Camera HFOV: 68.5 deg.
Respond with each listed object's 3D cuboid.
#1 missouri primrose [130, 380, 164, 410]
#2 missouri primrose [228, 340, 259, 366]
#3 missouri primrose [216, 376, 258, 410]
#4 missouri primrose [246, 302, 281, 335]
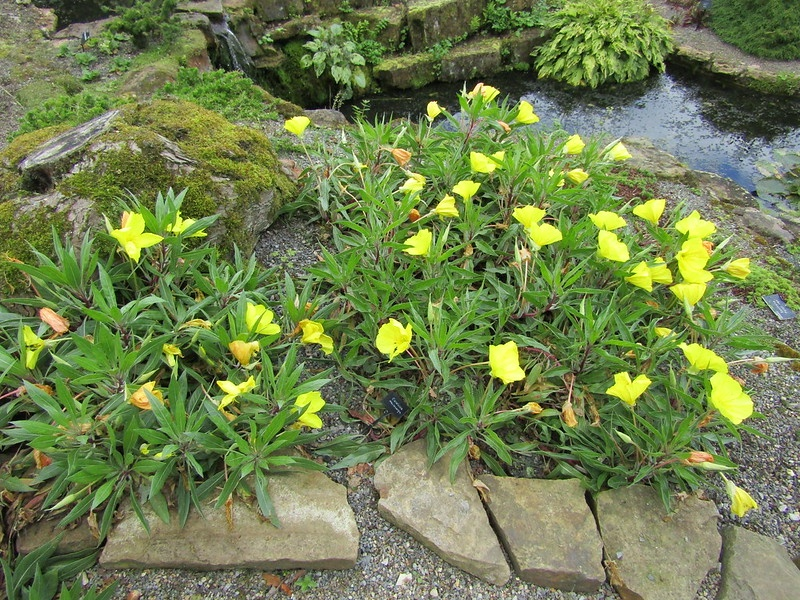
[{"bbox_3d":[-1.295,0.468,2.974,0.138,0.150,0.071,-44,64,-8],"label":"missouri primrose"},{"bbox_3d":[-0.819,0.264,3.082,0.146,0.123,0.142,-1,17,-34],"label":"missouri primrose"},{"bbox_3d":[-0.824,0.470,2.991,0.179,0.074,0.190,11,22,2],"label":"missouri primrose"},{"bbox_3d":[-0.741,0.107,3.217,0.184,0.111,0.171,-5,76,-25],"label":"missouri primrose"}]
